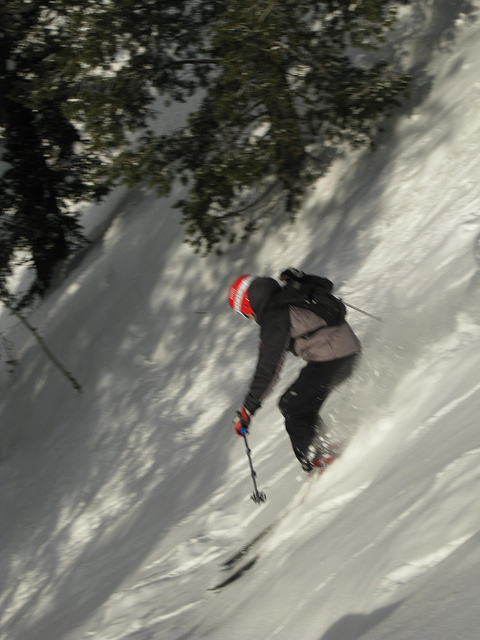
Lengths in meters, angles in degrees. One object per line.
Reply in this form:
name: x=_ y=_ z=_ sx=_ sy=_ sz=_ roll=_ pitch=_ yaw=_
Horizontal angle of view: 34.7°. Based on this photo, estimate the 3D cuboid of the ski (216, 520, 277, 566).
ski: x=0.085 y=2.230 z=7.634 sx=0.149 sy=0.150 sz=1.167 roll=-26 pitch=2 yaw=31

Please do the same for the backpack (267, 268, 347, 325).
backpack: x=0.595 y=-0.183 z=7.056 sx=0.655 sy=0.226 sz=0.444 roll=28 pitch=38 yaw=5
